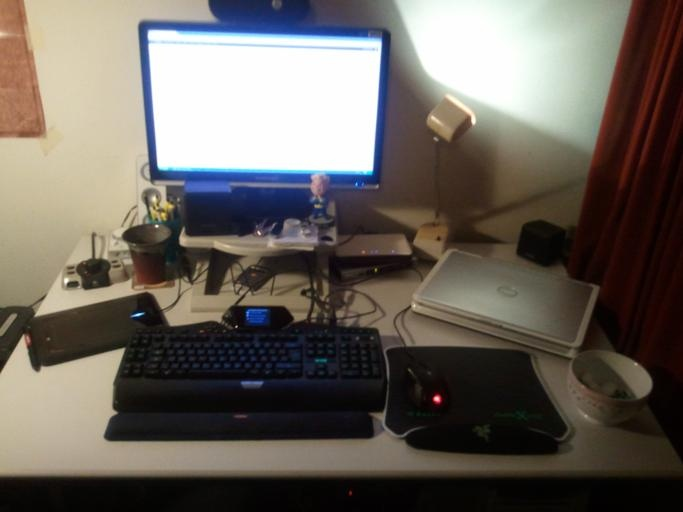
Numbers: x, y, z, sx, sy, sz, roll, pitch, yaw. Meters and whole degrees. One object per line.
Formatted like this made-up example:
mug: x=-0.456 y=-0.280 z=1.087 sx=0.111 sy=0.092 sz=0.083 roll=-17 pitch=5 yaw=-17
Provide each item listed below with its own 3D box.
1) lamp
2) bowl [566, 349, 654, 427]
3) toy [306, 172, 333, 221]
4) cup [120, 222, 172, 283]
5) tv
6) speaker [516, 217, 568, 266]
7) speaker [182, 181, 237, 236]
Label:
lamp: x=0.299 y=-0.240 z=1.669 sx=0.187 sy=0.501 sz=0.120 roll=21 pitch=54 yaw=25
bowl: x=0.575 y=0.287 z=1.264 sx=0.154 sy=0.099 sz=0.157 roll=-9 pitch=27 yaw=5
toy: x=-0.057 y=-0.160 z=1.563 sx=0.101 sy=0.135 sz=0.103 roll=1 pitch=8 yaw=13
cup: x=-0.533 y=0.001 z=1.565 sx=0.116 sy=0.138 sz=0.117 roll=5 pitch=29 yaw=-2
tv: x=-0.209 y=-0.417 z=1.491 sx=0.485 sy=0.318 sz=0.037 roll=1 pitch=27 yaw=-4
speaker: x=0.586 y=-0.039 z=1.721 sx=0.131 sy=0.129 sz=0.132 roll=27 pitch=42 yaw=35
speaker: x=-0.347 y=-0.128 z=1.542 sx=0.140 sy=0.140 sz=0.142 roll=2 pitch=25 yaw=-5
